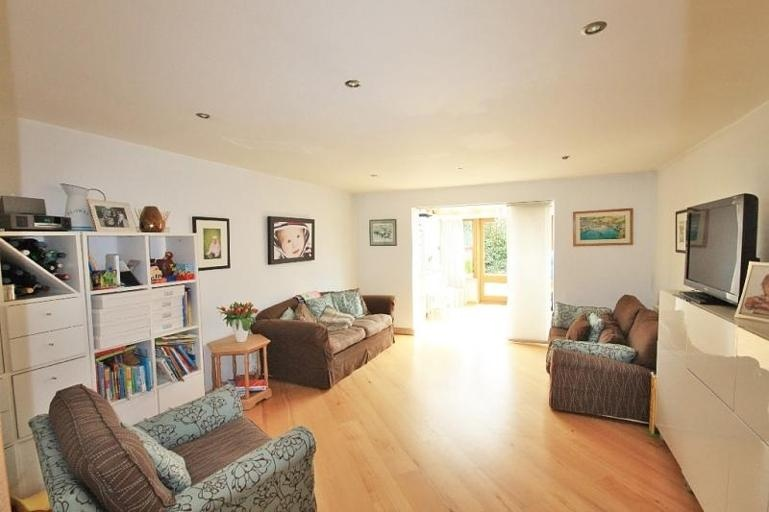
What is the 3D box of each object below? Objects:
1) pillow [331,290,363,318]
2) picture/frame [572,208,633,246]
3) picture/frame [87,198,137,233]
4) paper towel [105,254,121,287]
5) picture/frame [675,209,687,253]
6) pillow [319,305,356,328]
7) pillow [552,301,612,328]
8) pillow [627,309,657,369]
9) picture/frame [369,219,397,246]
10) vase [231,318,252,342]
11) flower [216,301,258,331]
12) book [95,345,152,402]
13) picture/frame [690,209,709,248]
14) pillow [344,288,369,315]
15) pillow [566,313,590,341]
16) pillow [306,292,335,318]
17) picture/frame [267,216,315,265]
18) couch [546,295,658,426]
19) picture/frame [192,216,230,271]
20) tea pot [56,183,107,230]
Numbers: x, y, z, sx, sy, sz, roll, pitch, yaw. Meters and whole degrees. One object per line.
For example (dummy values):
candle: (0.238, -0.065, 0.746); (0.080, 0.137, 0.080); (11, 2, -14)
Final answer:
pillow: (-0.547, 0.682, 7.324); (0.425, 0.390, 0.126); (-8, -21, -45)
picture/frame: (3.126, -0.421, 6.993); (0.550, 0.394, 0.023); (0, 1, 21)
picture/frame: (-2.510, -0.369, 4.532); (0.026, 0.331, 0.383); (-13, -6, 27)
paper towel: (-2.475, 0.135, 4.516); (0.278, 0.316, 0.034); (2, 5, 40)
picture/frame: (3.394, -0.291, 5.652); (0.025, 0.621, 0.548); (2, -1, 20)
pillow: (-0.634, 0.840, 6.750); (0.293, 0.094, 0.310); (16, 17, 28)
pillow: (2.514, 0.798, 6.753); (0.463, 0.174, 0.457); (-4, 8, -15)
pillow: (2.662, 0.839, 5.043); (0.167, 0.506, 0.509); (8, -8, 18)
picture/frame: (-0.002, -0.409, 8.339); (0.465, 0.433, 0.038); (0, -2, 22)
vase: (-1.645, 0.831, 5.670); (0.263, 0.303, 0.266); (0, -1, -1)
flower: (-1.682, 0.662, 5.633); (0.368, 0.237, 0.358); (-2, -3, 14)
book: (-2.384, 1.090, 4.546); (0.409, 0.538, 0.539); (-5, 3, -33)
picture/frame: (2.745, -0.242, 4.298); (0.013, 0.363, 0.348); (2, -1, 20)
pillow: (-0.392, 0.693, 7.427); (0.106, 0.347, 0.363); (-17, -15, 25)
pillow: (2.337, 0.858, 5.948); (0.185, 0.107, 0.239); (-39, -5, 29)
pillow: (-0.901, 0.671, 6.840); (0.111, 0.262, 0.378); (-31, -4, 21)
picture/frame: (-1.324, -0.226, 6.872); (0.049, 0.480, 0.708); (0, 1, 27)
couch: (2.375, 0.616, 5.437); (0.999, 0.946, 2.237); (0, 3, 24)
picture/frame: (-2.002, -0.150, 5.669); (0.028, 0.685, 0.593); (4, 8, 26)
tea pot: (-2.729, -0.436, 4.429); (0.259, 0.480, 0.481); (-2, -1, 43)
